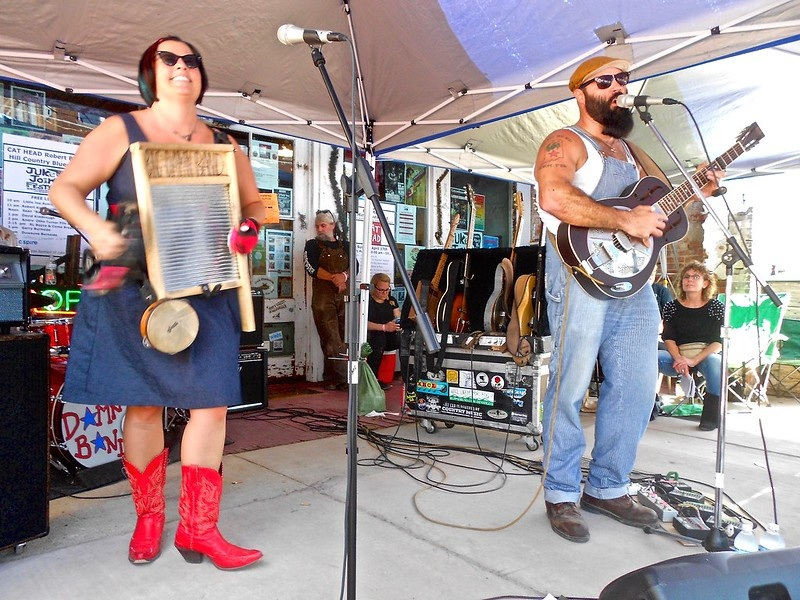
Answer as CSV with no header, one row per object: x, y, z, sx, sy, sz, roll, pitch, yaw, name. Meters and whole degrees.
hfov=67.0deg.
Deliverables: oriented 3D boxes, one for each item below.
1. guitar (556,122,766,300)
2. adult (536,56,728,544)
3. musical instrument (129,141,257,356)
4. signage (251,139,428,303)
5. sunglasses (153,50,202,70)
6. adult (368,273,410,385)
1.387,-0.486,3.488,1.582,0.587,0.191,-37,6,-5,guitar
1.201,0.064,3.219,1.123,2.729,0.863,5,16,26,adult
-0.885,-0.243,2.541,0.562,0.862,0.205,-8,11,-40,musical instrument
-0.771,-0.850,6.456,2.233,1.386,0.078,4,-7,-36,signage
-0.968,-1.055,2.657,0.193,0.088,0.069,-1,4,-30,sunglasses
-0.129,0.330,7.240,0.821,1.138,0.738,0,9,7,adult
